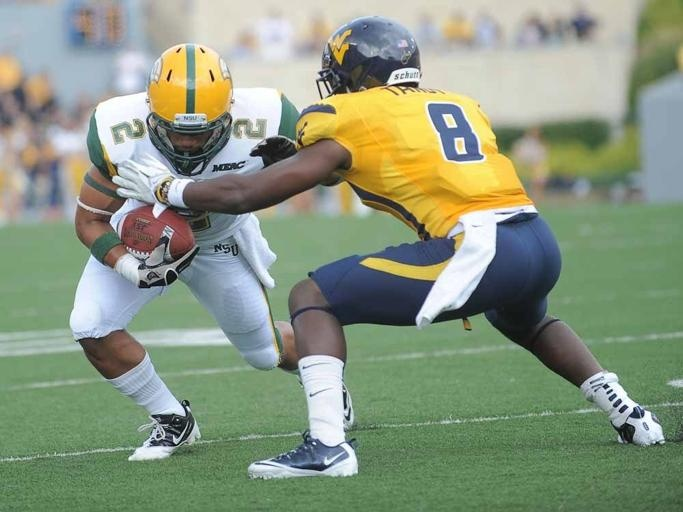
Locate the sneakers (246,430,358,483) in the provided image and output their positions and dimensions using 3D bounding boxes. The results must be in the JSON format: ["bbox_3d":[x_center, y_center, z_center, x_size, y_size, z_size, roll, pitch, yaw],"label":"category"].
[{"bbox_3d":[-0.134,0.886,3.777,0.523,0.243,0.182,1,-11,5],"label":"sneakers"}]

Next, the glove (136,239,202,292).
[{"bbox_3d":[-0.813,0.067,4.069,0.248,0.100,0.191,-36,17,9],"label":"glove"}]

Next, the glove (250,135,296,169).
[{"bbox_3d":[-0.327,-0.503,4.064,0.188,0.100,0.150,-23,-22,27],"label":"glove"}]

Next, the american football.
[{"bbox_3d":[-0.894,-0.104,4.075,0.333,0.234,0.205,14,53,14],"label":"american football"}]

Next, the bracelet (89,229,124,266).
[{"bbox_3d":[-1.136,-0.045,4.154,0.159,0.077,0.126,-45,1,-1],"label":"bracelet"}]

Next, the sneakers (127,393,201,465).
[{"bbox_3d":[-0.864,0.864,4.228,0.419,0.200,0.161,-21,8,-42],"label":"sneakers"}]

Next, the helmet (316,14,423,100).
[{"bbox_3d":[0.132,-0.956,4.006,0.447,0.352,0.344,11,18,35],"label":"helmet"}]
